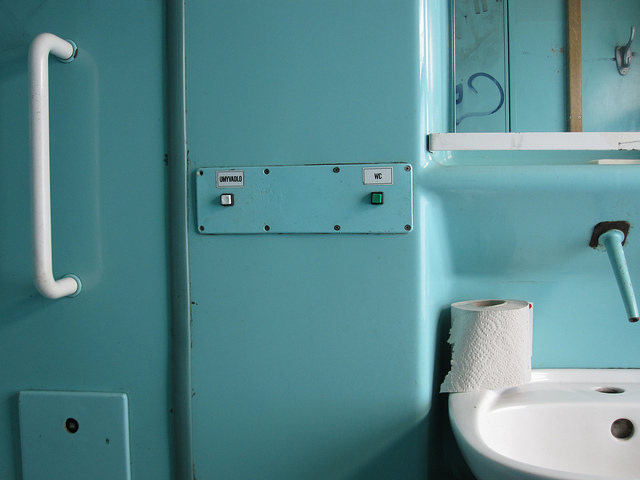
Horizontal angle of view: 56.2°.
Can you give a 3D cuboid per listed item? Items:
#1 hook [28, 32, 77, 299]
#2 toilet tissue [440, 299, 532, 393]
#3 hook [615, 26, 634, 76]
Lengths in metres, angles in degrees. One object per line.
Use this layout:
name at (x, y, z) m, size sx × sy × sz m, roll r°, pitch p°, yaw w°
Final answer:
hook at (-0.665, -0.177, 1.490) m, size 0.066 × 0.664 × 0.178 m, roll 1°, pitch 5°, yaw 7°
toilet tissue at (0.423, 0.266, 1.587) m, size 0.243 × 0.226 × 0.201 m, roll 0°, pitch 8°, yaw -20°
hook at (0.835, -0.519, 1.642) m, size 0.052 × 0.134 × 0.023 m, roll -3°, pitch 5°, yaw 0°
